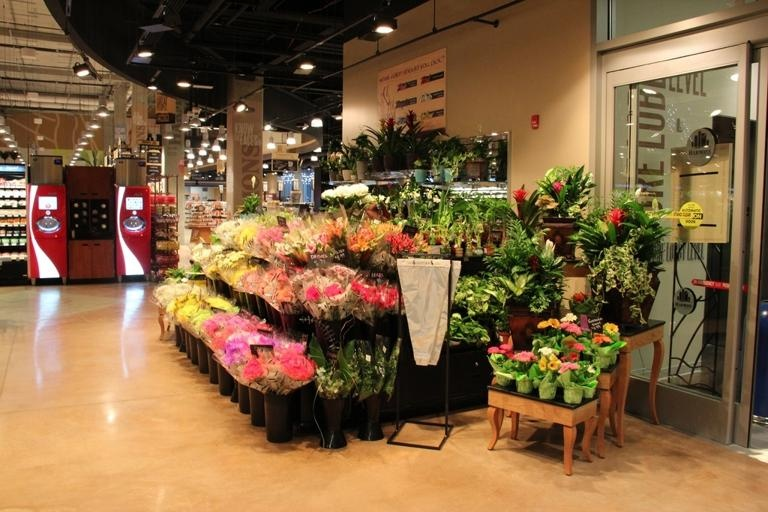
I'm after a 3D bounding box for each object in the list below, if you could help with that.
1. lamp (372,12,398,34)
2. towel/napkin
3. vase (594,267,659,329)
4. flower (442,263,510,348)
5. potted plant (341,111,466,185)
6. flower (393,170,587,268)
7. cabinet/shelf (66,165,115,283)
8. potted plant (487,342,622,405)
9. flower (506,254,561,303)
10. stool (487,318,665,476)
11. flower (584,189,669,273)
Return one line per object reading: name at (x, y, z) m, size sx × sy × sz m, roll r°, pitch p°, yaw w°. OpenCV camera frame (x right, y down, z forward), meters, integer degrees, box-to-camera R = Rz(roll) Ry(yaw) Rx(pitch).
lamp at (0.007, -3.210, 7.420) m, size 0.273 × 0.203 × 0.231 m, roll 0°, pitch 9°, yaw -4°
towel/napkin at (0.361, 0.524, 5.100) m, size 0.464 × 0.998 × 0.093 m, roll 1°, pitch 8°, yaw 4°
vase at (2.321, 0.436, 5.391) m, size 0.589 × 0.681 × 0.507 m, roll 8°, pitch -12°, yaw -36°
flower at (1.124, 0.458, 5.809) m, size 0.652 × 0.918 × 0.915 m, roll 0°, pitch -2°, yaw 39°
potted plant at (0.317, -1.646, 7.938) m, size 1.157 × 0.532 × 1.243 m, roll 3°, pitch 7°, yaw 31°
flower at (1.185, -0.459, 5.965) m, size 1.296 × 0.517 × 1.264 m, roll -2°, pitch 3°, yaw -35°
cabinet/shelf at (-6.593, -0.811, 12.798) m, size 1.058 × 2.593 × 0.351 m, roll -4°, pitch 9°, yaw -26°
potted plant at (1.328, 1.030, 4.680) m, size 0.643 × 0.236 × 0.610 m, roll 4°, pitch 2°, yaw 19°
flower at (1.401, 0.212, 5.180) m, size 0.478 × 0.392 × 0.427 m, roll -5°, pitch 11°, yaw -21°
stool at (1.698, 1.184, 5.141) m, size 1.511 × 1.022 × 1.129 m, roll 2°, pitch -2°, yaw -39°
flower at (2.241, -0.257, 5.229) m, size 0.778 × 0.746 × 0.771 m, roll -3°, pitch -4°, yaw -24°
